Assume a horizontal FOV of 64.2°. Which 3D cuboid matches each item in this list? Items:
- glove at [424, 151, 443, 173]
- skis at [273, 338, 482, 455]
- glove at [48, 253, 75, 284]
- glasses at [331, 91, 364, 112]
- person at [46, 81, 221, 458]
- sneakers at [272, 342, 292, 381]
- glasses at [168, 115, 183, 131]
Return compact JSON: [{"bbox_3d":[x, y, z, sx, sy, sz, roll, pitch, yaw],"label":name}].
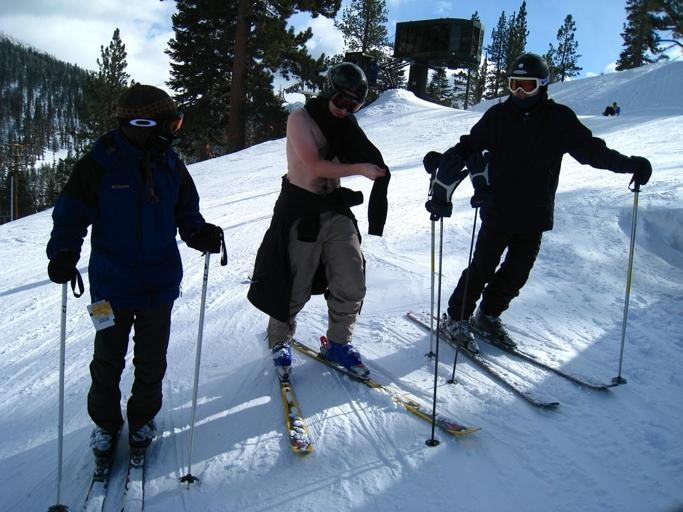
[{"bbox_3d":[0.732,-0.746,4.354,0.148,0.188,0.283,4,20,8],"label":"glove"},{"bbox_3d":[0.247,1.042,3.958,0.169,0.138,1.569,-11,29,-43],"label":"skis"},{"bbox_3d":[-1.656,0.085,3.215,0.135,0.064,0.184,-14,44,-42],"label":"glove"},{"bbox_3d":[0.034,-1.101,3.863,0.120,0.067,0.155,9,28,-27],"label":"glasses"},{"bbox_3d":[-1.336,0.090,3.407,0.876,2.202,0.596,-11,22,-32],"label":"person"},{"bbox_3d":[-0.452,0.797,4.144,0.102,0.147,0.320,1,28,-6],"label":"sneakers"},{"bbox_3d":[-1.062,-0.859,3.481,0.039,0.116,0.066,27,-3,37],"label":"glasses"}]
